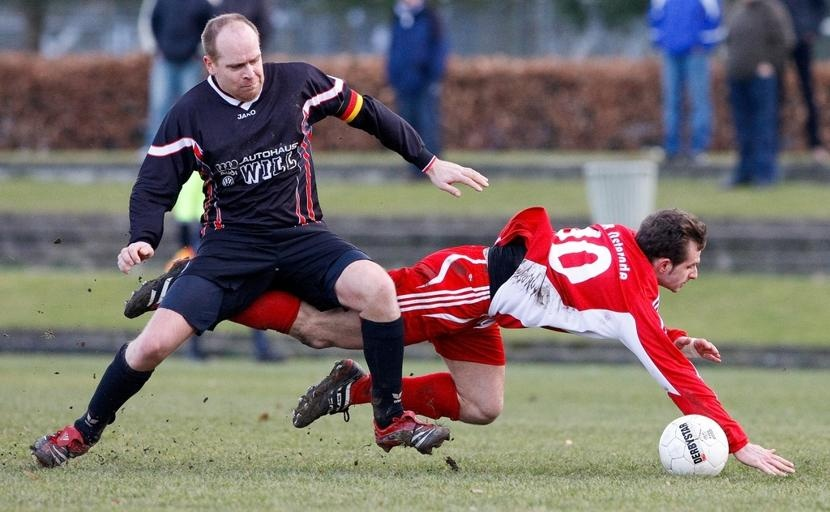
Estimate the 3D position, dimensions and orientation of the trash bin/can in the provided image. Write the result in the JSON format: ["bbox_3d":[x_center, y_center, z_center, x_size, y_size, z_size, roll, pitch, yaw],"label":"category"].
[{"bbox_3d":[2.943,-0.852,20.062,1.104,1.071,1.045,0,2,2],"label":"trash bin/can"}]

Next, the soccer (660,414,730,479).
[{"bbox_3d":[2.895,1.931,14.740,0.590,0.659,0.651,0,0,-16],"label":"soccer"}]
